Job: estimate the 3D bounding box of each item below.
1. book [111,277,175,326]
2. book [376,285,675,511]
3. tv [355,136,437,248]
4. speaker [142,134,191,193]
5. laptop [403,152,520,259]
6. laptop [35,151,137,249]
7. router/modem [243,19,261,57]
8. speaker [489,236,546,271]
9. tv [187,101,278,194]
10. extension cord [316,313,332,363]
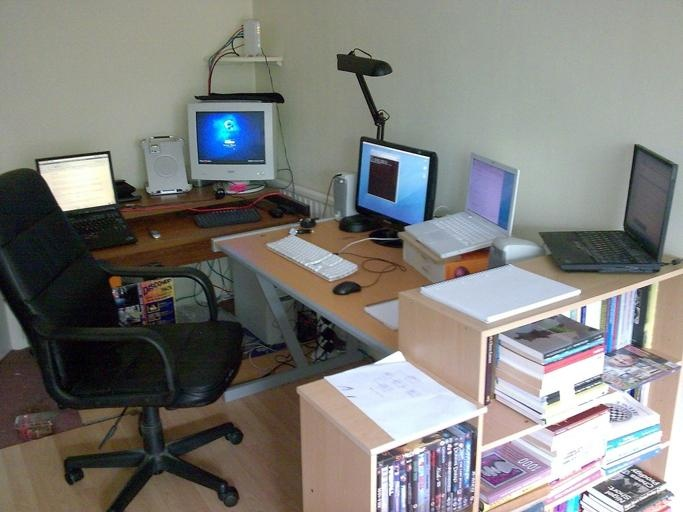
[{"bbox_3d":[-1.041,0.263,2.968,0.317,0.235,0.277,-7,23,-27],"label":"book"},{"bbox_3d":[0.563,0.436,1.734,0.829,0.623,0.320,-10,24,-23],"label":"book"},{"bbox_3d":[0.269,-0.299,2.606,0.214,0.394,0.491,-12,27,-36],"label":"tv"},{"bbox_3d":[-1.140,-0.567,3.494,0.318,0.335,0.237,-14,17,-39],"label":"speaker"},{"bbox_3d":[0.480,-0.207,2.259,0.333,0.340,0.334,-10,24,-15],"label":"laptop"},{"bbox_3d":[-1.324,-0.270,2.910,0.435,0.293,0.460,-8,42,-21],"label":"laptop"},{"bbox_3d":[-0.563,-1.386,3.528,0.098,0.218,0.165,-2,23,2],"label":"router/modem"},{"bbox_3d":[0.647,-0.029,2.075,0.214,0.186,0.109,2,-16,19],"label":"speaker"},{"bbox_3d":[-0.737,-0.717,3.523,0.546,0.431,0.292,-4,8,-27],"label":"tv"},{"bbox_3d":[-0.120,0.515,3.380,0.098,0.303,0.147,5,23,0],"label":"extension cord"}]
